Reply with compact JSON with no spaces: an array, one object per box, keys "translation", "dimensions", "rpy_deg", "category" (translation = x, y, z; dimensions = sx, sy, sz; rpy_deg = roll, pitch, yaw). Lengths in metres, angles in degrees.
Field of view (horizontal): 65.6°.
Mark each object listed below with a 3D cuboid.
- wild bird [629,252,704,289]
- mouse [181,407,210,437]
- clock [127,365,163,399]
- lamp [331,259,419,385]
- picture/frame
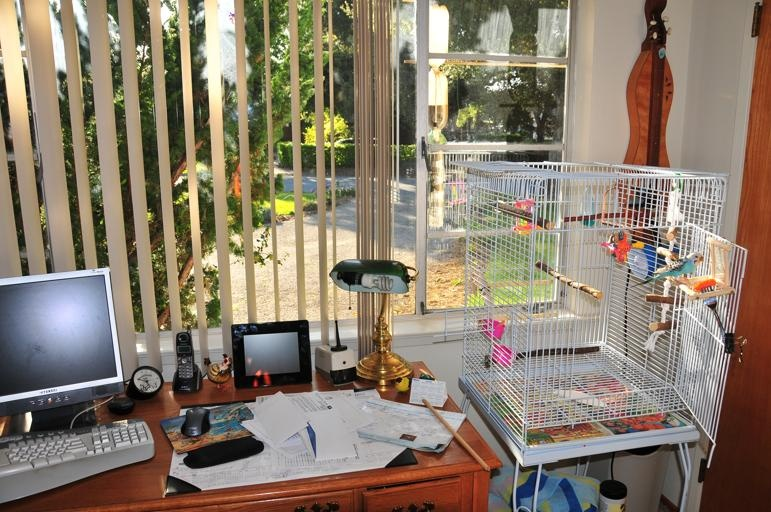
[{"translation":[1.168,0.059,2.523],"dimensions":[0.297,0.138,0.083],"rpy_deg":[-15,26,21],"category":"wild bird"},{"translation":[-0.791,0.692,2.486],"dimensions":[0.089,0.101,0.113],"rpy_deg":[2,-11,-3],"category":"mouse"},{"translation":[-1.084,0.586,2.736],"dimensions":[0.107,0.144,0.146],"rpy_deg":[-38,-42,25],"category":"clock"},{"translation":[-0.059,0.315,2.879],"dimensions":[0.380,0.549,0.363],"rpy_deg":[-4,0,3],"category":"lamp"},{"translation":[-0.538,0.467,2.789],"dimensions":[0.292,0.252,0.031],"rpy_deg":[-2,-3,-8],"category":"picture/frame"}]
